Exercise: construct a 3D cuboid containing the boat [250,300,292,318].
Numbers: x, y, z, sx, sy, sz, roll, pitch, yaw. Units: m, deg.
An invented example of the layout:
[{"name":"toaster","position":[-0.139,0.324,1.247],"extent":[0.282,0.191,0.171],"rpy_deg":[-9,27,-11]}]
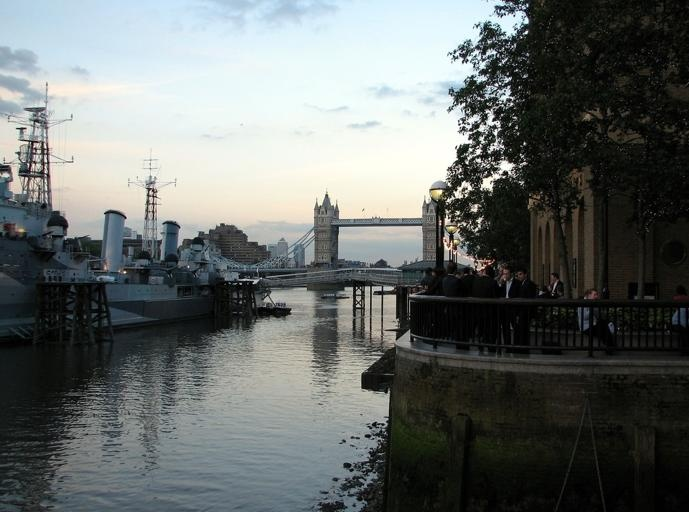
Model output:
[{"name":"boat","position":[-8.842,6.300,84.965],"extent":[3.360,1.068,3.173],"rpy_deg":[1,-1,6]}]
